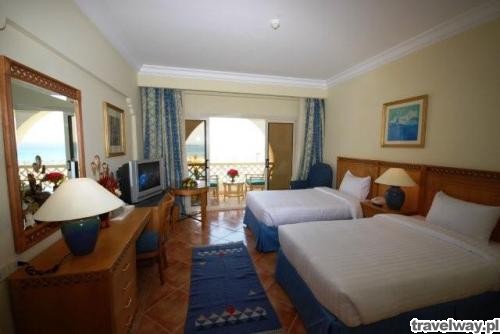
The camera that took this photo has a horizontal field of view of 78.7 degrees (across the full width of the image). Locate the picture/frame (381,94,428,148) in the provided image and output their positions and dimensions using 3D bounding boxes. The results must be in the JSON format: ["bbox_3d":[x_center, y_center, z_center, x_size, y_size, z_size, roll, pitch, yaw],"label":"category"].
[{"bbox_3d":[2.452,-0.708,4.888,0.101,0.786,0.769,-2,6,-22],"label":"picture/frame"}]

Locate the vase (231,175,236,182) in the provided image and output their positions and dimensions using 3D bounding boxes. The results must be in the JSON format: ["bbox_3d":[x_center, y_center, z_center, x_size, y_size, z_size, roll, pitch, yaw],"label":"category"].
[{"bbox_3d":[-0.432,0.307,7.671,0.134,0.137,0.144,-11,5,32],"label":"vase"}]

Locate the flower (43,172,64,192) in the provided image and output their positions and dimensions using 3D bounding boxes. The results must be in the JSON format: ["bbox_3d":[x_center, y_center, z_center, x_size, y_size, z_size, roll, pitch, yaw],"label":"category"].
[{"bbox_3d":[-2.177,0.163,3.384,0.152,0.167,0.117,21,-42,-29],"label":"flower"}]

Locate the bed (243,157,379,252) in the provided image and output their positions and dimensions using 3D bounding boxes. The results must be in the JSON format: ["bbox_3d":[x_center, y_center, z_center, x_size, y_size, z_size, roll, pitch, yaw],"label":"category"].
[{"bbox_3d":[1.011,0.635,5.302,1.561,1.000,1.592,0,1,-6],"label":"bed"}]

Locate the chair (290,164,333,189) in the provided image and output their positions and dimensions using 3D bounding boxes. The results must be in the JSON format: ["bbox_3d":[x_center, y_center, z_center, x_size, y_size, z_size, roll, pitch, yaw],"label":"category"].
[{"bbox_3d":[1.283,0.246,6.740,0.671,0.824,0.612,4,-1,-24],"label":"chair"}]

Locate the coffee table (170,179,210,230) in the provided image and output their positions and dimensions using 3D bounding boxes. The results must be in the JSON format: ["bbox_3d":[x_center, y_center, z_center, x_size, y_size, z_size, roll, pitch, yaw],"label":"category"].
[{"bbox_3d":[-1.126,0.749,5.943,0.750,0.766,0.701,-1,2,-8],"label":"coffee table"}]

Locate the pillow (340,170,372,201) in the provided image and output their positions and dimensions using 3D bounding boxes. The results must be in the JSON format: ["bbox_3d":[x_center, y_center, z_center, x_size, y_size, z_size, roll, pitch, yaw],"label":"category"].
[{"bbox_3d":[1.903,0.356,5.482,0.134,0.437,0.430,29,-2,-26],"label":"pillow"}]

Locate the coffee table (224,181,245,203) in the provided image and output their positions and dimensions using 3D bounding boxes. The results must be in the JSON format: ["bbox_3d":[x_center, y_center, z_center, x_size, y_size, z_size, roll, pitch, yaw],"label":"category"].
[{"bbox_3d":[-0.408,0.639,7.740,0.476,0.359,0.463,0,1,30],"label":"coffee table"}]

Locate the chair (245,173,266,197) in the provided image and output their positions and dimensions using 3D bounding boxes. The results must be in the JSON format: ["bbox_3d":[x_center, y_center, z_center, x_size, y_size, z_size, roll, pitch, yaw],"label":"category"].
[{"bbox_3d":[0.233,0.385,7.499,0.428,0.629,0.432,0,-3,-15],"label":"chair"}]

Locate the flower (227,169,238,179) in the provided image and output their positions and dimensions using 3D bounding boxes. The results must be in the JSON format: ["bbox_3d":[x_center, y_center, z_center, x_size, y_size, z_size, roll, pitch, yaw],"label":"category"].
[{"bbox_3d":[-0.429,0.167,7.569,0.232,0.236,0.226,1,2,-13],"label":"flower"}]

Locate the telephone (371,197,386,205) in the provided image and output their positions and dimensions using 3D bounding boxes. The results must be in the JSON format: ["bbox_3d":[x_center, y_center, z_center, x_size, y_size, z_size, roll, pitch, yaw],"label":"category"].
[{"bbox_3d":[2.101,0.563,5.007,0.140,0.048,0.137,-12,15,-30],"label":"telephone"}]

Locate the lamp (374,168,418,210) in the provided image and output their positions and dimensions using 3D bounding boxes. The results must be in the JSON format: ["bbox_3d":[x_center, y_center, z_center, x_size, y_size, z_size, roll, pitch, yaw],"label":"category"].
[{"bbox_3d":[2.216,0.319,4.789,0.622,0.679,0.606,0,-1,-34],"label":"lamp"}]

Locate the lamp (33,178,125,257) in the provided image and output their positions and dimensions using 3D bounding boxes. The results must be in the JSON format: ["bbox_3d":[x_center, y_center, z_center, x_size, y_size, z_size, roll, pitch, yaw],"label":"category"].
[{"bbox_3d":[-1.782,0.513,3.385,0.799,0.720,0.801,1,-2,-15],"label":"lamp"}]
